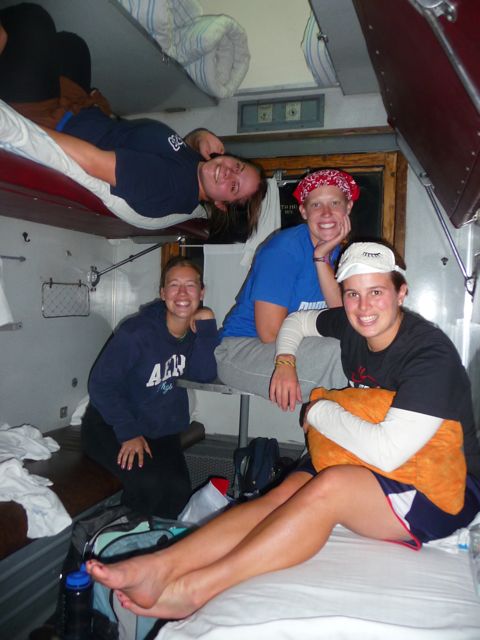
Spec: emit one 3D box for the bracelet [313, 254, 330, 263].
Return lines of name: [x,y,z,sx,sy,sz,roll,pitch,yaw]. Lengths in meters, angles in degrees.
bracelet: [0.326,-0.245,2.040,0.041,0.022,0.041,9,22,43]
